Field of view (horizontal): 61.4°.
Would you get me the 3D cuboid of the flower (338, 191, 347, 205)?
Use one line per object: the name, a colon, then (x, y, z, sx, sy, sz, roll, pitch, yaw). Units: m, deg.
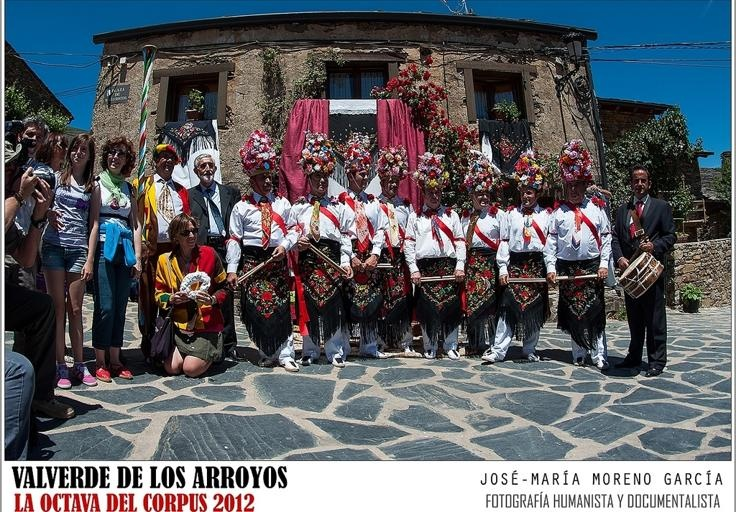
flower: (-0.344, -0.777, 8.267, 0.103, 0.158, 0.077, -2, -29, 2)

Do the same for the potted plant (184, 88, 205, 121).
potted plant: (-3.728, -3.284, 13.480, 0.404, 0.611, 0.284, -2, 13, -15)

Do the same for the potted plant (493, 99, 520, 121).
potted plant: (3.107, -3.263, 13.995, 0.517, 0.352, 0.505, -2, 24, -16)

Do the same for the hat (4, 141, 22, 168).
hat: (-3.154, -0.926, 5.537, 0.138, 0.188, 0.137, -5, 14, -27)

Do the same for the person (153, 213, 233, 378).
person: (-2.089, 0.486, 7.440, 0.868, 1.945, 0.536, -3, 13, -19)

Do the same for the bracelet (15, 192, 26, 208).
bracelet: (-3.057, -0.512, 5.484, 0.065, 0.121, 0.095, 3, 12, 6)

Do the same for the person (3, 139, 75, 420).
person: (-3.208, 0.245, 5.977, 0.505, 2.691, 1.023, -5, 14, -27)

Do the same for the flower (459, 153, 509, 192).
flower: (1.568, -1.180, 8.684, 0.388, 0.559, 0.415, 3, 12, 6)

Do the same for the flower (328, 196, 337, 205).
flower: (-0.455, -0.736, 8.157, 0.106, 0.099, 0.042, 3, -13, 0)

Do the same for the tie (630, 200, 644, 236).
tie: (3.406, -0.496, 7.867, 0.089, 0.360, 0.260, 0, -10, 25)

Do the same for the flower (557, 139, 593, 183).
flower: (2.683, -1.245, 8.188, 0.404, 0.304, 0.560, -2, 10, -1)

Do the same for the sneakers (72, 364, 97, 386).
sneakers: (-3.175, 1.324, 6.962, 0.411, 0.173, 0.141, 7, 6, 32)

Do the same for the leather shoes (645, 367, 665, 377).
leather shoes: (3.618, 1.431, 7.798, 0.292, 0.096, 0.110, 1, 27, -36)

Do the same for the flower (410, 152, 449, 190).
flower: (0.859, -1.161, 8.506, 0.445, 0.522, 0.342, 2, 12, 3)

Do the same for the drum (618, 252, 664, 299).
drum: (3.311, 0.236, 7.752, 0.368, 0.550, 0.543, 45, -4, 9)

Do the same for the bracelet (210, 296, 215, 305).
bracelet: (-1.849, 0.520, 7.401, 0.035, 0.096, 0.065, 2, 0, -21)

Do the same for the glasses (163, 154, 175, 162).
glasses: (-2.405, -1.198, 7.509, 0.106, 0.047, 0.122, 2, -2, -6)

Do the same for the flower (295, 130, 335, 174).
flower: (-0.665, -1.346, 8.168, 0.432, 0.552, 0.436, 0, 12, -6)

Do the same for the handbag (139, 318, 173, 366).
handbag: (-2.560, 1.023, 7.585, 0.305, 0.635, 0.640, -1, 2, -38)

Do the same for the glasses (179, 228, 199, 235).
glasses: (-2.102, -0.294, 7.328, 0.211, 0.117, 0.066, -7, 15, -35)

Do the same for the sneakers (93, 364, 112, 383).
sneakers: (-3.031, 1.344, 7.126, 0.108, 0.107, 0.277, 2, 0, -37)

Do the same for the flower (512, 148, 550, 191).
flower: (2.237, -1.153, 8.478, 0.384, 0.518, 0.403, 8, 14, 26)

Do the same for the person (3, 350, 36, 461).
person: (-2.940, 1.255, 5.241, 0.248, 0.883, 0.382, -5, 14, -27)

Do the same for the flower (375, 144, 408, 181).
flower: (0.346, -1.254, 8.310, 0.429, 0.437, 0.234, 4, 6, -4)

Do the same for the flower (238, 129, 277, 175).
flower: (-1.374, -1.327, 8.112, 0.539, 0.470, 0.611, 12, 16, -13)
